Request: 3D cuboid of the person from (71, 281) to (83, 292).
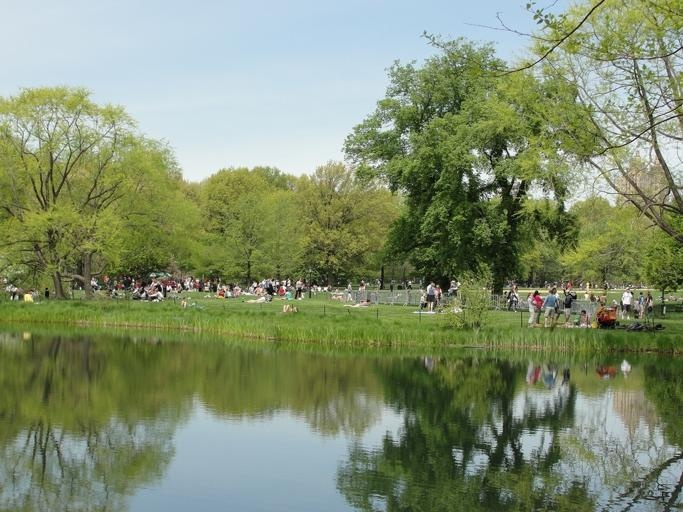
[{"bbox_3d":[-24.547,2.881,69.260,1.390,0.864,1.397,7,-6,-5],"label":"person"}]
